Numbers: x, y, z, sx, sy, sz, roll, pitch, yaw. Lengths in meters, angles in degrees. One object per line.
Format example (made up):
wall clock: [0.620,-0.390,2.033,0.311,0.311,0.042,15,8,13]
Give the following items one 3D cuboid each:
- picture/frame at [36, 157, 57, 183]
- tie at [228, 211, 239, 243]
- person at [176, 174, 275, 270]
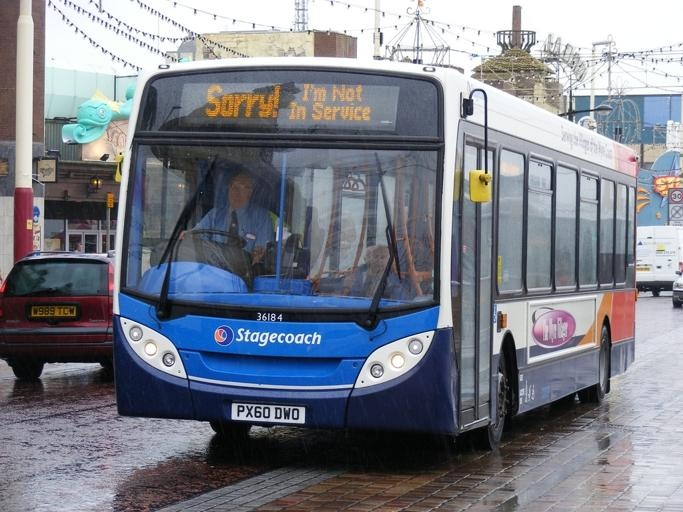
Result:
picture/frame: [-11.733,-3.407,33.895,0.933,1.340,0.175,-3,-26,-4]
tie: [-0.918,-0.243,7.312,0.093,0.273,0.013,-1,0,21]
person: [-0.959,-0.257,7.335,0.672,0.957,0.509,12,-15,-6]
